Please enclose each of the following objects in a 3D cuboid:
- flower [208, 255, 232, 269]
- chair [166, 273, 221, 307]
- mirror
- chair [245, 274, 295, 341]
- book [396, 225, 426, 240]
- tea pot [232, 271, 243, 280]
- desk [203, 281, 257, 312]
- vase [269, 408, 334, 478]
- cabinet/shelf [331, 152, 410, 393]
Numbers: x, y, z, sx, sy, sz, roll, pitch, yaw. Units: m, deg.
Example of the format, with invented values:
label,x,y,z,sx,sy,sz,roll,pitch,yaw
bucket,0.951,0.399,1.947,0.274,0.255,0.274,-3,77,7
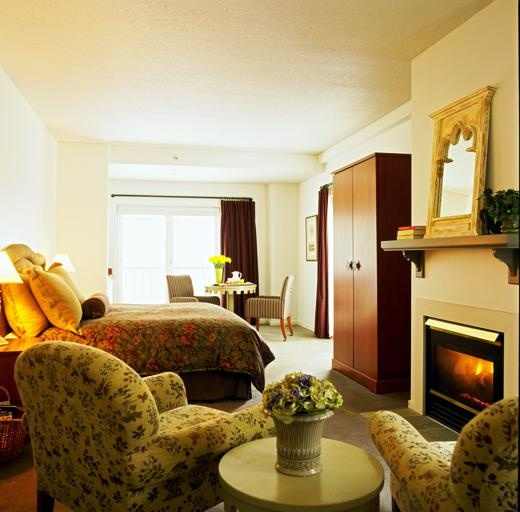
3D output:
label,x,y,z,sx,sy,sz,roll,pitch,yaw
flower,-0.684,0.068,6.794,0.264,0.161,0.279,0,-4,-7
chair,-1.106,0.522,6.764,0.605,0.828,0.546,-2,-1,21
mirror,1.369,-0.608,2.855,0.136,0.951,0.575,0,-1,-12
chair,0.198,0.835,6.818,0.645,0.930,0.652,1,-1,12
book,1.156,-0.175,3.145,0.204,0.107,0.191,0,-2,22
tea pot,-0.421,0.321,6.836,0.167,0.179,0.128,-3,-4,30
desk,-0.480,0.528,6.494,0.579,0.650,0.613,0,-1,-3
vase,0.127,0.594,1.370,0.224,0.198,0.235,2,-4,-28
cabinet/shelf,1.148,0.155,4.231,0.411,2.250,0.897,0,-1,-16
